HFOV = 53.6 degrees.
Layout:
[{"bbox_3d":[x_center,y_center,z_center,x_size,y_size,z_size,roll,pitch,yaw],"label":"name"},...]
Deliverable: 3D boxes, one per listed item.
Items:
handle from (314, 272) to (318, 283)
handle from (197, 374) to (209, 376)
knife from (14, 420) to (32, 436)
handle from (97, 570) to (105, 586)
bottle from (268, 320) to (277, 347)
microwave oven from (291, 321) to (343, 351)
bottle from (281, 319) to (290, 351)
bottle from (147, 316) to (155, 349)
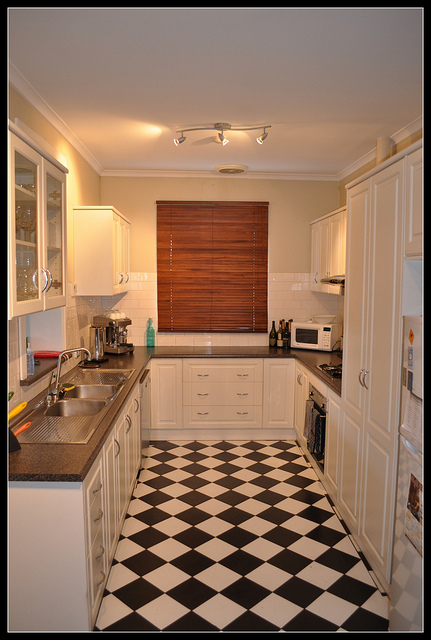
[{"bbox_3d":[1.091,-0.467,4.659,0.028,0.124,0.127,1,0,13],"label":"handle"},{"bbox_3d":[-0.120,0.541,4.230,0.105,0.014,0.014,0,4,-5],"label":"handle"},{"bbox_3d":[-0.919,0.516,2.035,0.037,0.024,0.169,-4,9,-7],"label":"knife"},{"bbox_3d":[-0.520,1.178,1.948,0.049,0.013,0.047,7,8,42],"label":"handle"},{"bbox_3d":[0.640,0.150,4.779,0.076,0.269,0.167,1,3,8],"label":"bottle"},{"bbox_3d":[1.015,0.162,4.369,0.383,0.255,0.290,1,2,32],"label":"microwave oven"},{"bbox_3d":[0.768,0.147,4.713,0.091,0.295,0.308,1,4,9],"label":"bottle"},{"bbox_3d":[-0.719,0.124,4.732,0.082,0.333,0.086,0,3,0],"label":"bottle"}]
